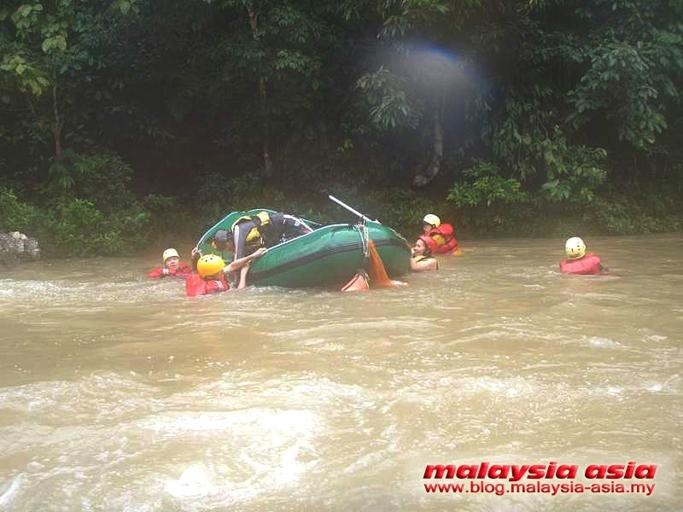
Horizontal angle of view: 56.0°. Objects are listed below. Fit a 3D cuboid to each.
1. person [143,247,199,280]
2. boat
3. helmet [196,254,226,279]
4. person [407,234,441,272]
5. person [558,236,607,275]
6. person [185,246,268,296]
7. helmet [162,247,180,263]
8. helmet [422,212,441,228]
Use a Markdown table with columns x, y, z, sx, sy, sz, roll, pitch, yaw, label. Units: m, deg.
| x | y | z | sx | sy | sz | roll | pitch | yaw | label |
| --- | --- | --- | --- | --- | --- | --- | --- | --- | --- |
| -3.464 | 0.198 | 12.983 | 0.638 | 0.309 | 0.896 | -7 | 9 | -23 | person |
| -0.282 | 0.086 | 11.291 | 2.481 | 0.987 | 1.928 | -1 | -8 | 14 | boat |
| -2.191 | 0.156 | 10.855 | 0.345 | 0.256 | 0.411 | 9 | 19 | 41 | helmet |
| 1.669 | -0.010 | 12.840 | 0.291 | 0.746 | 0.566 | 5 | -17 | 19 | person |
| 4.408 | -0.038 | 11.959 | 0.610 | 0.899 | 0.914 | 3 | 21 | 40 | person |
| -2.104 | 0.392 | 11.019 | 1.253 | 0.618 | 0.755 | -30 | 41 | -34 | person |
| -3.642 | -0.008 | 13.683 | 0.353 | 0.235 | 0.476 | -18 | 0 | -24 | helmet |
| 2.001 | -0.766 | 14.195 | 0.281 | 0.303 | 0.556 | 2 | 12 | 13 | helmet |
